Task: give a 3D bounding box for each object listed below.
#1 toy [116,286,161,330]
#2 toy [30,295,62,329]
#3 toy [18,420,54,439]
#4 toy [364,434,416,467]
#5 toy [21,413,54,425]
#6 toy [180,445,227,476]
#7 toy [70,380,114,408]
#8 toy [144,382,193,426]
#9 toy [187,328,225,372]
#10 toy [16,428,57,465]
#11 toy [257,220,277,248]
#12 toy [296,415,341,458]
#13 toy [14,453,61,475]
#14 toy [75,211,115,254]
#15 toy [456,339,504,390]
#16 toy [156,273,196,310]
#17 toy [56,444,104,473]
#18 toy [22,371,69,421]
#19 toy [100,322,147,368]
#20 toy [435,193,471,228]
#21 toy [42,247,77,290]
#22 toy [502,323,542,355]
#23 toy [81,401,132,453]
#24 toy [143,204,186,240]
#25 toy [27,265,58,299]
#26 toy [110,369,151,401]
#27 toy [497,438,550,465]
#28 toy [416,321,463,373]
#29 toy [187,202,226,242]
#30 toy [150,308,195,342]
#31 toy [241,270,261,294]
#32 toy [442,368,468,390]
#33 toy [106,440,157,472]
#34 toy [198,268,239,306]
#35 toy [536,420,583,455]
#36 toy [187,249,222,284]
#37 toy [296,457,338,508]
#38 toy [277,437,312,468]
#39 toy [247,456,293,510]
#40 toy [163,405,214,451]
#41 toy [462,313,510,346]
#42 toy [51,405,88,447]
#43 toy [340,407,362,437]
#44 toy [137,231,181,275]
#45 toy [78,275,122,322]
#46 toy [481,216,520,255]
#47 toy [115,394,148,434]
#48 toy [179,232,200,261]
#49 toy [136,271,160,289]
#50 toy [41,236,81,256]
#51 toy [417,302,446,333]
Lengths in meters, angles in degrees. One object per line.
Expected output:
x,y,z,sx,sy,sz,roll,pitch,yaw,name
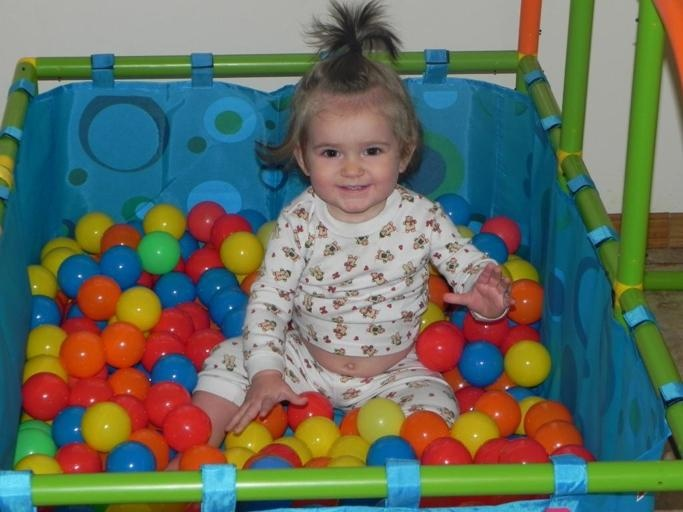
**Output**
-0.544,0.139,1.933,0.099,0.120,0.126,1,8,-1,toy
-0.794,0.147,1.953,0.069,0.077,0.083,17,15,-32,toy
-0.704,0.394,1.663,0.040,0.026,0.045,13,25,-6,toy
0.109,0.398,1.481,0.110,0.054,0.105,-2,-15,-5,toy
-0.731,0.390,1.715,0.037,0.023,0.042,2,10,0,toy
-0.277,0.398,1.427,0.064,0.044,0.143,10,-20,-43,toy
-0.592,0.325,1.708,0.079,0.069,0.064,-25,-6,-21,toy
-0.406,0.338,1.727,0.089,0.104,0.115,9,-36,-5,toy
-0.352,0.261,1.947,0.090,0.119,0.090,29,-37,-28,toy
-0.681,0.415,1.592,0.070,0.077,0.094,-13,-44,-23,toy
-0.211,-0.062,2.052,0.052,0.063,0.069,2,31,0,toy
-0.052,0.406,1.617,0.084,0.090,0.082,-2,16,0,toy
-0.583,0.406,1.407,0.084,0.037,0.163,5,-17,-29,toy
-0.758,-0.073,2.236,0.098,0.119,0.124,0,-6,-5,toy
0.368,0.279,1.920,0.100,0.118,0.132,-2,-35,4,toy
-0.479,0.099,2.096,0.088,0.108,0.112,3,-3,-8,toy
-0.554,0.430,1.536,0.109,0.061,0.096,6,-17,-33,toy
-0.692,0.324,1.670,0.092,0.111,0.117,-5,-16,-6,toy
-0.557,0.227,1.838,0.096,0.114,0.125,0,-34,-5,toy
0.325,-0.133,2.076,0.073,0.090,0.078,-9,-38,-40,toy
-0.823,0.021,2.079,0.084,0.114,0.090,18,17,21,toy
0.492,0.219,1.975,0.077,0.102,0.079,10,18,-30,toy
-0.515,0.374,1.622,0.092,0.110,0.115,-13,-20,-14,toy
-0.540,-0.114,2.207,0.099,0.115,0.120,14,-3,37,toy
-0.833,0.070,1.998,0.069,0.106,0.122,0,-14,-13,toy
-0.517,0.312,1.763,0.078,0.084,0.075,5,-12,-43,toy
0.340,0.362,1.340,0.088,0.044,0.206,-7,-15,14,toy
0.250,0.226,1.856,0.111,0.121,0.139,-19,-22,-7,toy
-0.427,-0.120,2.308,0.102,0.114,0.136,13,-54,1,toy
-0.460,0.181,1.962,0.079,0.097,0.101,-1,3,4,toy
-0.244,0.070,1.953,0.038,0.050,0.044,-18,-54,0,toy
0.309,0.325,1.926,0.050,0.072,0.056,-11,14,11,toy
-0.419,0.399,1.436,0.100,0.060,0.126,1,-15,-18,toy
-0.367,0.087,2.149,0.093,0.126,0.104,3,28,-8,toy
0.484,0.402,1.594,0.072,0.087,0.093,5,-22,1,toy
-0.422,0.021,2.245,0.090,0.107,0.115,-7,-14,3,toy
-0.046,0.421,1.325,0.080,0.091,0.360,-2,-15,-5,toy
-0.102,0.417,1.567,0.049,0.053,0.063,-3,-43,-30,toy
-0.125,0.395,1.228,0.087,0.100,0.339,-1,-15,-5,toy
-0.337,0.378,1.582,0.106,0.102,0.067,1,-14,-15,toy
0.407,0.172,2.001,0.100,0.114,0.116,-17,10,-40,toy
-0.612,0.383,1.612,0.072,0.088,0.091,-3,-4,-8,toy
0.024,0.390,1.674,0.038,0.063,0.043,4,-19,0,toy
-0.537,-0.010,2.124,0.107,0.131,0.136,8,1,-2,toy
-0.660,0.115,2.015,0.101,0.122,0.129,-6,-17,-5,toy
0.493,-0.076,2.222,0.101,0.117,0.131,-12,-46,21,toy
-0.477,0.364,1.679,0.065,0.077,0.083,-9,-34,26,toy
-0.487,-0.031,2.287,0.065,0.093,0.072,1,-8,-5,toy
-0.581,0.071,2.164,0.046,0.052,0.055,-25,3,-28,toy
-0.841,-0.037,2.150,0.068,0.069,0.063,-13,1,0,toy
0.252,0.165,1.988,0.067,0.093,0.071,-8,21,-23,toy
